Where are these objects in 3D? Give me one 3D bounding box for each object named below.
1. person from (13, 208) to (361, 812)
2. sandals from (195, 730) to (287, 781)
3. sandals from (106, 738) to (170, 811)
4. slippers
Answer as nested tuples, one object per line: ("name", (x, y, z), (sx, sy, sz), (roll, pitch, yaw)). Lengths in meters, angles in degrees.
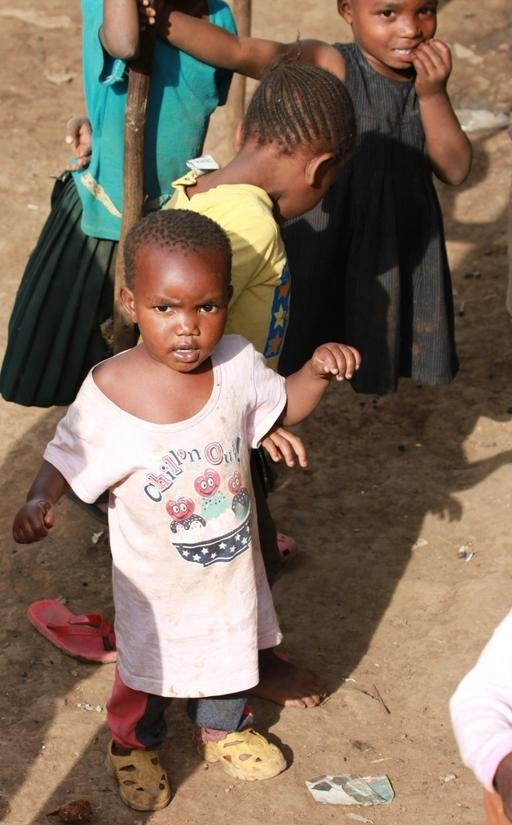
("person", (-0.122, 0.293, 1.692), (0.552, 1.358, 0.620), (12, 38, 14))
("sandals", (-0.039, 0.825, 1.923), (0.192, 0.072, 0.118), (9, 46, 26))
("sandals", (-0.281, 0.844, 1.874), (0.125, 0.091, 0.234), (1, 8, -26))
("slippers", (-0.543, 0.641, 2.315), (0.258, 0.066, 0.134), (30, 35, 28))
